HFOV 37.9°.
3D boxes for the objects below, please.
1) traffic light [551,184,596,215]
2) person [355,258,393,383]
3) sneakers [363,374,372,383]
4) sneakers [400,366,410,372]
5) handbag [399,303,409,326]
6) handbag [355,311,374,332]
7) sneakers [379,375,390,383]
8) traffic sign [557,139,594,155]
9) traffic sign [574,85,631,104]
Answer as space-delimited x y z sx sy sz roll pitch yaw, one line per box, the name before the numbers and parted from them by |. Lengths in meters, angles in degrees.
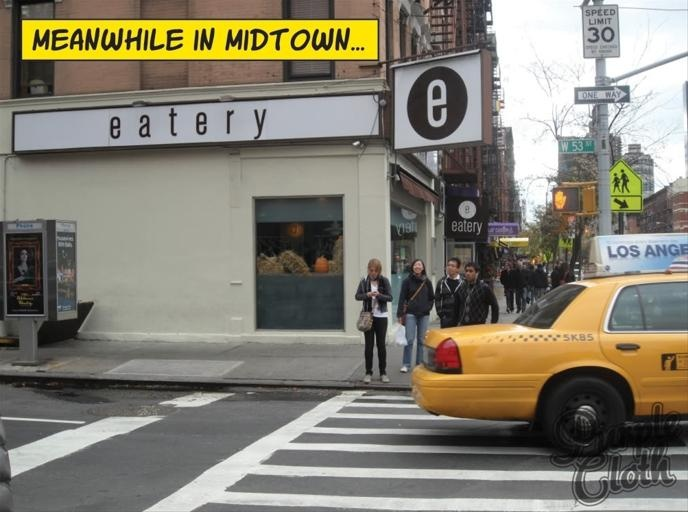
traffic light | 5.349 -1.261 23.090 0.868 0.780 1.133 -2 7 -8
person | 0.565 1.233 18.978 0.642 2.222 1.024 0 7 3
sneakers | 0.437 2.305 18.801 0.119 0.155 0.343 1 2 3
sneakers | 1.188 2.234 19.684 0.089 0.111 0.239 -1 -7 10
handbag | 1.131 1.132 19.194 0.307 0.344 0.233 1 1 1
handbag | 0.376 1.251 18.602 0.241 0.384 0.271 0 7 6
sneakers | 0.762 2.292 18.774 0.180 0.138 0.323 -1 7 0
traffic sign | 5.267 -2.430 22.696 0.892 0.291 0.770 5 9 35
traffic sign | 5.598 -3.446 21.838 1.146 0.385 0.943 1 8 14
